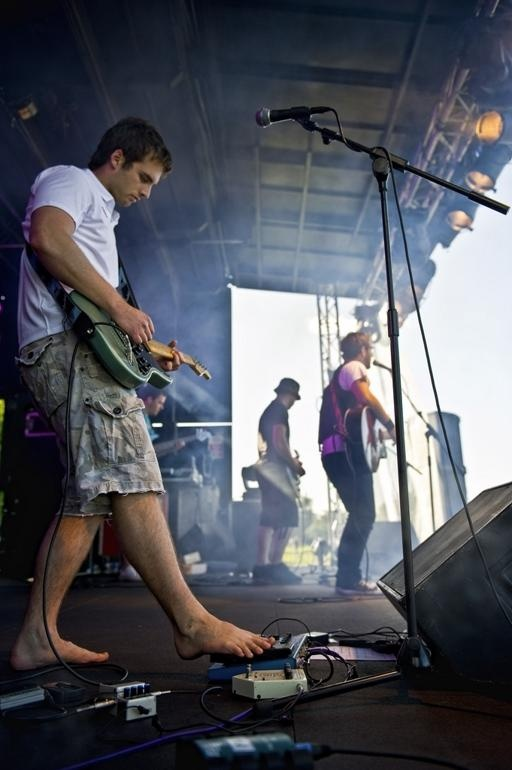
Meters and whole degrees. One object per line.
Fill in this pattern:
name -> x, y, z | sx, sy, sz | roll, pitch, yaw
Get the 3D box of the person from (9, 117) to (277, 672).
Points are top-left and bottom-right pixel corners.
person -> -0.323, -0.034, 1.447 | 0.449, 1.431, 0.511 | 2, -8, -29

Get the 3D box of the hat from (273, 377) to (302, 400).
hat -> 0.241, 0.033, 4.579 | 0.176, 0.091, 0.149 | 9, 4, -32

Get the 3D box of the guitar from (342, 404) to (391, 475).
guitar -> 0.688, 0.345, 3.769 | 0.087, 0.373, 0.372 | -7, -41, 28

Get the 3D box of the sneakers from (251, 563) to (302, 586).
sneakers -> 0.144, 1.341, 4.256 | 0.391, 0.163, 0.125 | -1, -12, 5

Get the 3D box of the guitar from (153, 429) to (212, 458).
guitar -> -0.734, 0.587, 5.968 | 0.068, 0.257, 0.651 | -4, -6, 23
